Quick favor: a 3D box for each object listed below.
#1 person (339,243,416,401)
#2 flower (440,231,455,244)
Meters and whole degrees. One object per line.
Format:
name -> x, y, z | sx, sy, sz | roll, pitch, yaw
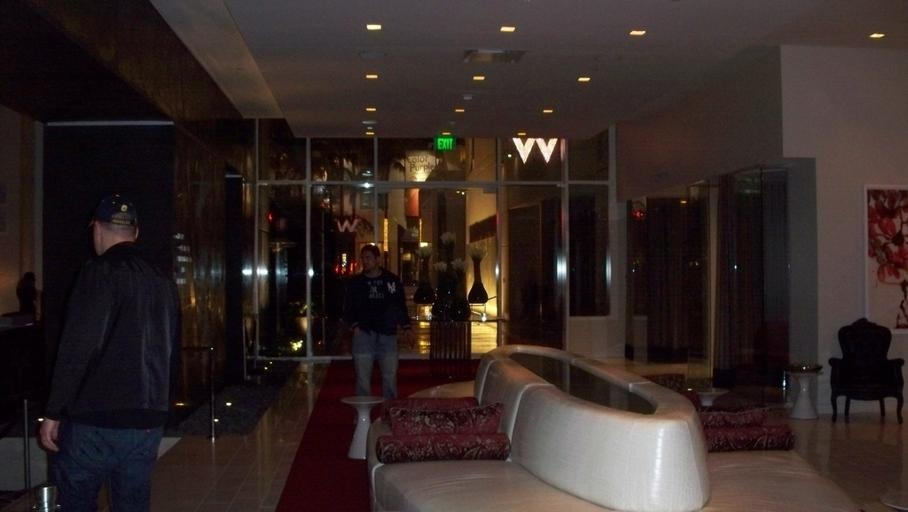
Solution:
person -> -1.015, 1.032, 9.223 | 0.855, 2.350, 0.630 | -1, 16, -5
flower -> -0.138, -0.349, 14.164 | 0.311, 0.264, 0.142 | 4, 8, 26
